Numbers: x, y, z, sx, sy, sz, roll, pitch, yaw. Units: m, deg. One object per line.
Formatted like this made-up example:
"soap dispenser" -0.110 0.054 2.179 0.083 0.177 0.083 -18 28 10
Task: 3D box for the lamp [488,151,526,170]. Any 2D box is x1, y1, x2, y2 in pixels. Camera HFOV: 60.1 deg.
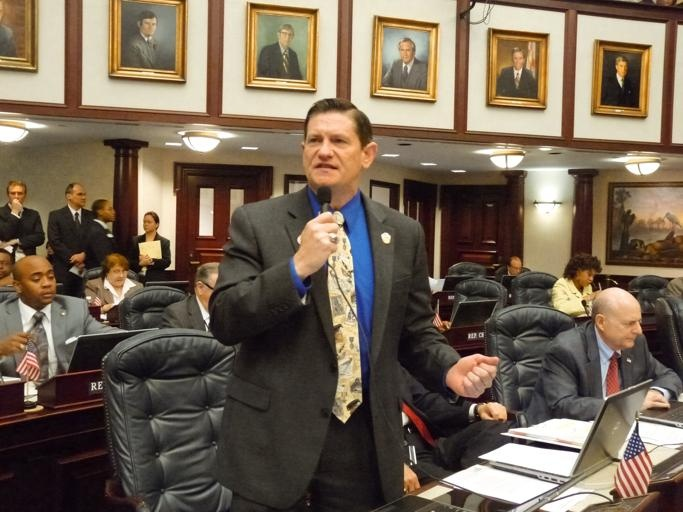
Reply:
"lamp" 2.582 -1.520 9.350 0.399 0.267 0.428 0 -3 1

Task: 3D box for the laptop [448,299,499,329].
"laptop" 1.275 0.554 5.726 0.337 0.229 0.281 -2 6 -31

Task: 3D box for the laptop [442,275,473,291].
"laptop" 1.612 0.377 8.499 0.280 0.303 0.247 1 14 -1

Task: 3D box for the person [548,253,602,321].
"person" 2.798 0.367 7.037 0.434 0.864 0.415 22 -29 -35

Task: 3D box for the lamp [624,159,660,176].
"lamp" 4.843 -1.436 9.576 0.389 0.168 0.397 -3 3 -31

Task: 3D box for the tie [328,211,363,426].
"tie" 0.000 0.219 1.971 0.117 0.625 0.154 0 6 -25

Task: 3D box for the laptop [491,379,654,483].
"laptop" 0.880 0.579 2.263 0.396 0.282 0.426 2 0 37

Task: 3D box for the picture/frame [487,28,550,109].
"picture/frame" 2.517 -2.741 8.569 1.045 1.385 0.140 2 -1 -17

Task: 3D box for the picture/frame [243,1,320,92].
"picture/frame" -0.814 -2.682 7.528 1.032 1.258 0.114 3 -2 -17

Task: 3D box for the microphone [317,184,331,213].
"microphone" -0.058 -0.187 1.946 0.047 0.085 0.147 3 6 -1

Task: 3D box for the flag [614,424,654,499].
"flag" 1.046 0.727 2.106 0.096 0.250 0.199 8 7 36

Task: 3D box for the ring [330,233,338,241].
"ring" -0.025 -0.054 1.746 0.029 0.024 0.007 0 7 -33
